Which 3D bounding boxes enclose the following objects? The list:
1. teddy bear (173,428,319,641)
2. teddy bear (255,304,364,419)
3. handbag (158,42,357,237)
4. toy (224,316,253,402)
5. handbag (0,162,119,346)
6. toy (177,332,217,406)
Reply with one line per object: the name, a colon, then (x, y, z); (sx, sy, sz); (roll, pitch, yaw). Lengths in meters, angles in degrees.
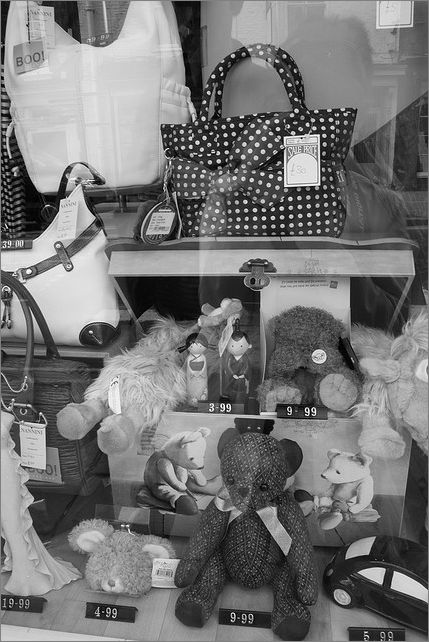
teddy bear: (0.058, 0.375, 0.956); (0.267, 0.332, 0.272); (-1, 23, 11)
teddy bear: (0.195, 0.085, 1.016); (0.202, 0.186, 0.163); (1, 24, 15)
handbag: (0.103, -0.387, 1.066); (0.381, 0.371, 0.118); (1, 8, 10)
toy: (0.042, 0.096, 1.024); (0.056, 0.143, 0.050); (2, 23, 19)
handbag: (-0.361, -0.163, 1.178); (0.398, 0.412, 0.137); (0, 4, 10)
toy: (-0.038, 0.106, 1.057); (0.056, 0.145, 0.056); (-4, 22, 3)
